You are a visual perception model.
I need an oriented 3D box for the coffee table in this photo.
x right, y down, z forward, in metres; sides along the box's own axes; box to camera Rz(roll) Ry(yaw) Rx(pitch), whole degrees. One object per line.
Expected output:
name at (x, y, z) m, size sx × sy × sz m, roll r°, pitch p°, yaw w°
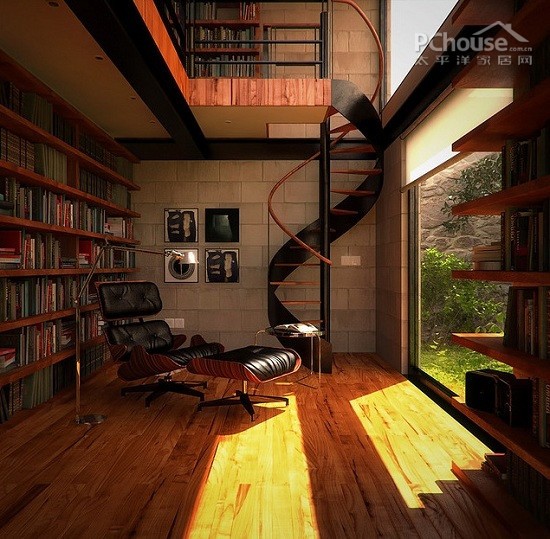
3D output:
coffee table at (0.163, 0.849, 4.419) m, size 0.704 × 0.613 × 0.664 m, roll 1°, pitch -3°, yaw -4°

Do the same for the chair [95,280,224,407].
chair at (-1.094, 0.630, 4.120) m, size 1.000 × 1.017 × 0.849 m, roll -1°, pitch 0°, yaw 28°

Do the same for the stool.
stool at (-0.248, 0.939, 3.724) m, size 0.682 × 0.436 × 0.889 m, roll -2°, pitch -5°, yaw 29°

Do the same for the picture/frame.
picture/frame at (-0.948, -0.325, 5.874) m, size 1.068 × 1.049 × 0.015 m, roll 0°, pitch -2°, yaw -1°
